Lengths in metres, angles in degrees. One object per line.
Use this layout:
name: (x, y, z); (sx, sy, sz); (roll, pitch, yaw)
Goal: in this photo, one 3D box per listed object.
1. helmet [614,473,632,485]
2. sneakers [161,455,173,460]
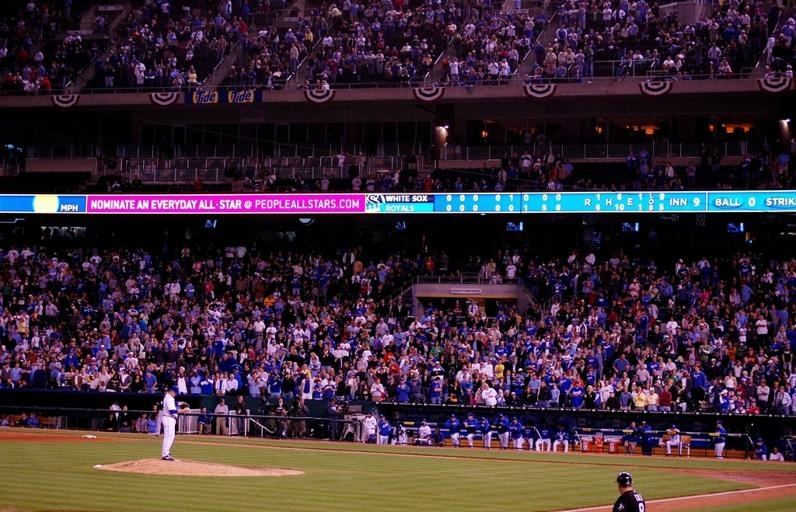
helmet: (8.160, 8.233, 55.525); (0.416, 0.459, 0.583); (2, -15, -4)
sneakers: (-9.621, 8.638, 64.248); (0.493, 0.242, 0.183); (1, 0, 1)
